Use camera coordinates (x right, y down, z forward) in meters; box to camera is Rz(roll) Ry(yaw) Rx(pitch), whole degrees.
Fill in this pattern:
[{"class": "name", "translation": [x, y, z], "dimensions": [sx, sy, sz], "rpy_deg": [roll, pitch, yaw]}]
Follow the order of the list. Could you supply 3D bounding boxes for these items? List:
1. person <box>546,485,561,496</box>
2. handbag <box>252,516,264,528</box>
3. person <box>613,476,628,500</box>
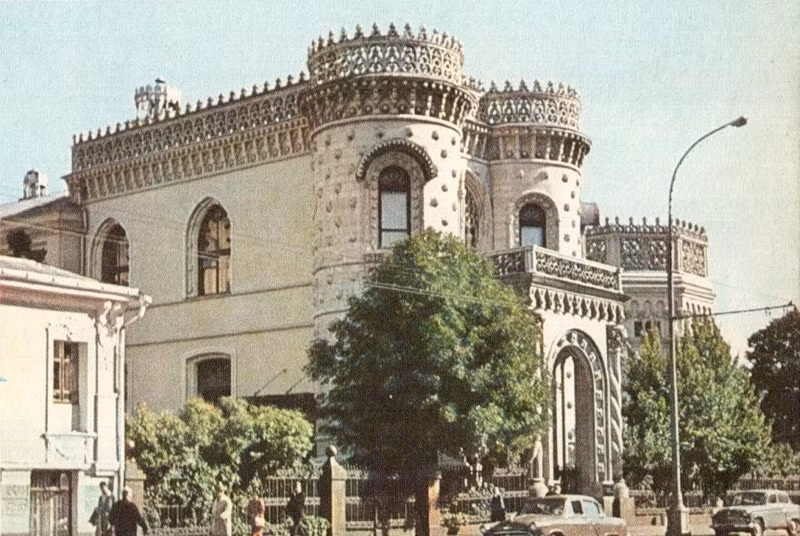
[{"class": "person", "translation": [6.030, 8.697, 70.983], "dimensions": [0.541, 0.356, 0.833], "rpy_deg": [0, -5, 2]}, {"class": "handbag", "translation": [-4.793, 8.692, 61.909], "dimensions": [0.211, 0.398, 0.550], "rpy_deg": [-6, -15, 25]}, {"class": "person", "translation": [9.057, 9.115, 74.386], "dimensions": [0.608, 0.811, 0.700], "rpy_deg": [1, -11, -5]}]
